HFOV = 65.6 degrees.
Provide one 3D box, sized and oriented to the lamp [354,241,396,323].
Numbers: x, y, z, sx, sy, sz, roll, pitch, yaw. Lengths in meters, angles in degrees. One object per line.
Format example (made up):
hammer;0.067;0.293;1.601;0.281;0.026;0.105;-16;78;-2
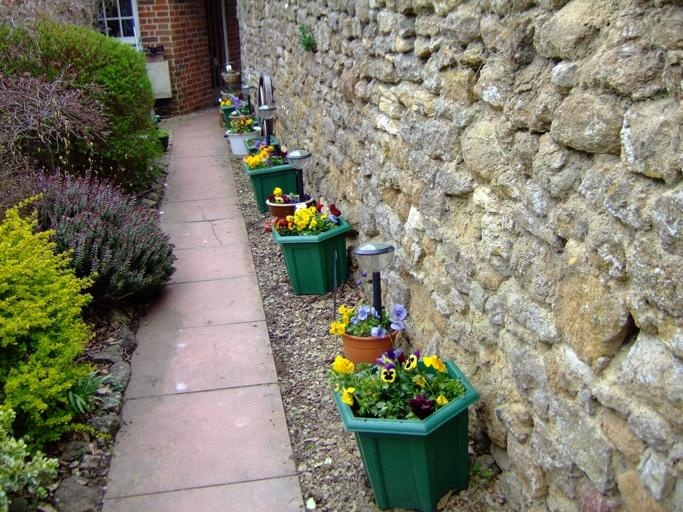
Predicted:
lamp;0.227;0.160;3.400;0.224;0.695;0.548;-1;23;6

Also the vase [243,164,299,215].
vase;-0.816;-0.892;6.349;0.621;0.564;0.564;-11;34;-12

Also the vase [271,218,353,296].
vase;-0.252;-0.067;4.582;0.608;0.571;0.615;-2;12;-2
